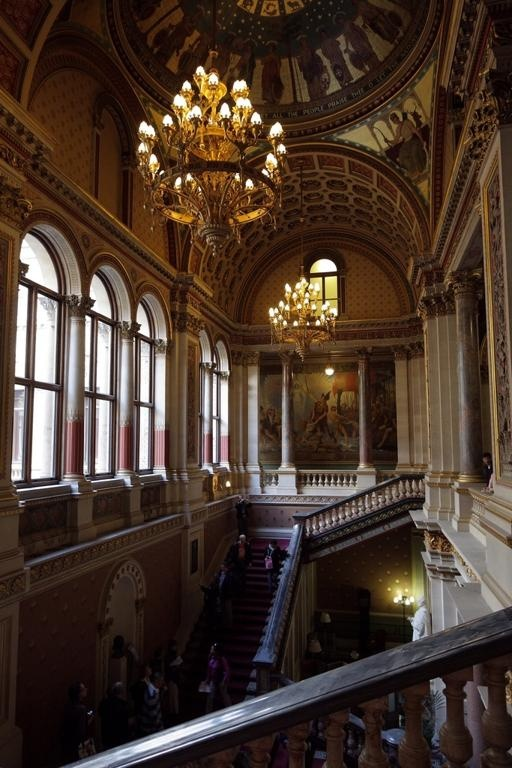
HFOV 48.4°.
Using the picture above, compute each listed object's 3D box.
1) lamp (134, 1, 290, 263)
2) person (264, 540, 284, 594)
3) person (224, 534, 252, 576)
[{"bbox_3d":[-0.420,-2.230,5.585,1.323,1.999,1.348,-6,-7,39],"label":"lamp"},{"bbox_3d":[0.393,3.934,12.289,0.455,1.194,0.400,1,4,7],"label":"person"},{"bbox_3d":[-0.402,3.932,13.011,0.560,0.955,1.584,0,-3,-1],"label":"person"}]
